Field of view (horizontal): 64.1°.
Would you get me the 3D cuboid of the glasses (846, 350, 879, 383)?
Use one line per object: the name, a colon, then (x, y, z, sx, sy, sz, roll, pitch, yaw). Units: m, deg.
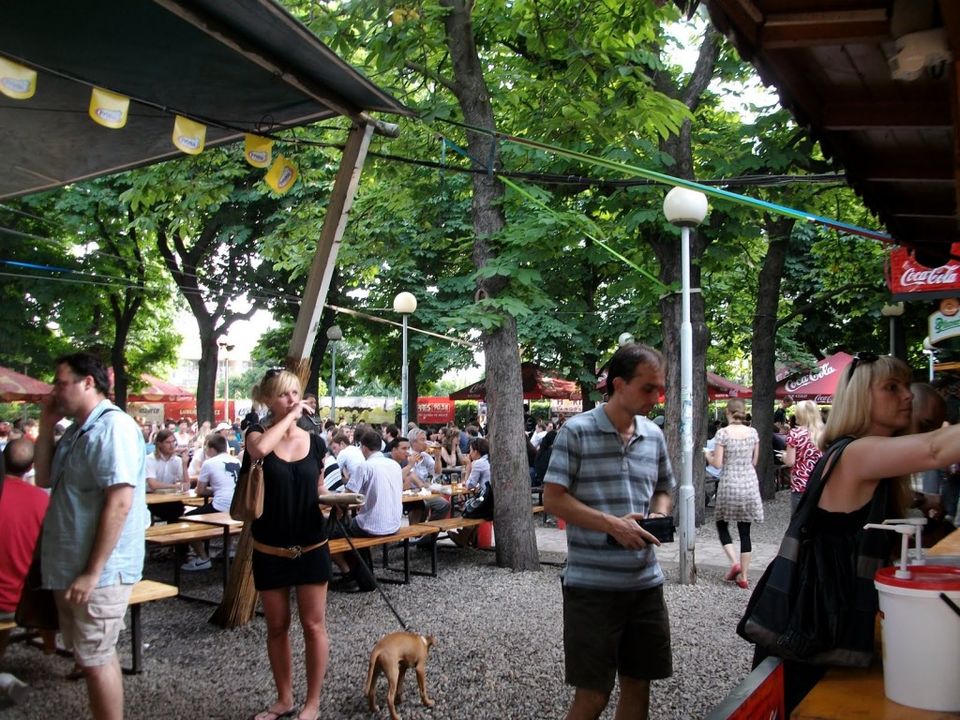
glasses: (1.819, 0.033, 3.690, 0.152, 0.149, 0.039, -15, 45, -31)

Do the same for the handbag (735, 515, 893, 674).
handbag: (1.581, 1.079, 3.718, 0.566, 0.701, 0.437, 12, -12, 12)

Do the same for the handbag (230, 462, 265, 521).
handbag: (-1.586, 0.911, 5.236, 0.183, 0.424, 0.429, 17, -23, -26)
